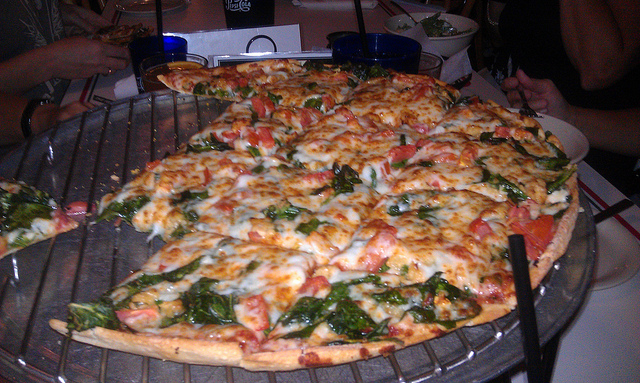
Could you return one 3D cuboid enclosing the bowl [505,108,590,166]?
[{"bbox_3d":[2.378,-0.580,4.855,0.714,0.158,0.624,0,33,-1],"label":"bowl"}]

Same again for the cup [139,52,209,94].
[{"bbox_3d":[-1.642,-1.388,5.491,0.616,0.395,0.572,0,38,0],"label":"cup"}]
